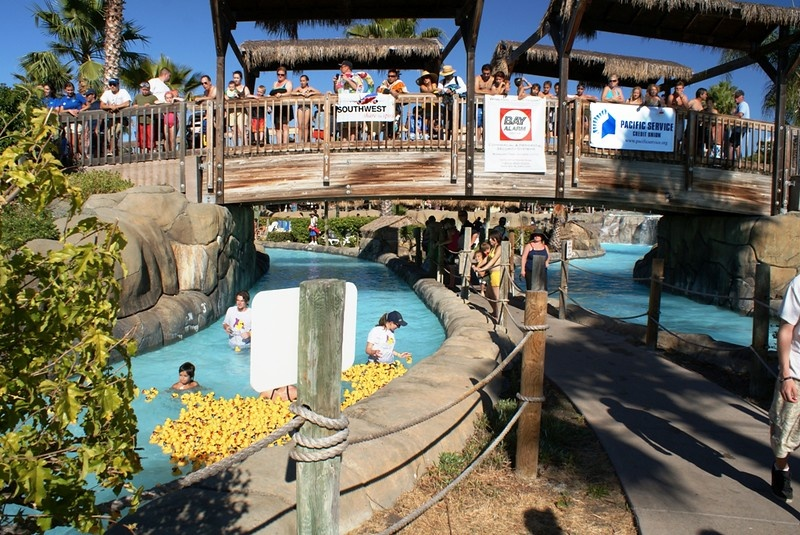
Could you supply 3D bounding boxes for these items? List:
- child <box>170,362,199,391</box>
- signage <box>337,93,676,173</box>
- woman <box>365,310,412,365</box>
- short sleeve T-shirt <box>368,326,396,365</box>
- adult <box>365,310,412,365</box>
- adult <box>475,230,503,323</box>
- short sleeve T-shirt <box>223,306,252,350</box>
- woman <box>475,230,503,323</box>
[{"bbox_3d":[-3.069,1.595,8.148,0.512,0.497,0.312,1,-6,-4],"label":"child"},{"bbox_3d":[2.689,-2.875,12.289,7.100,1.752,0.893,-4,11,-7],"label":"signage"},{"bbox_3d":[-0.199,1.278,10.063,0.364,0.962,0.550,16,25,21],"label":"woman"},{"bbox_3d":[-0.257,1.279,9.273,0.578,0.607,0.324,10,-3,-34],"label":"short sleeve T-shirt"},{"bbox_3d":[-0.199,1.278,10.063,0.364,0.962,0.550,16,25,21],"label":"adult"},{"bbox_3d":[1.815,0.200,11.306,0.522,1.784,0.444,1,5,18],"label":"adult"},{"bbox_3d":[-2.888,1.090,10.114,0.628,0.757,0.398,5,16,-4],"label":"short sleeve T-shirt"},{"bbox_3d":[1.760,0.184,11.163,0.511,1.628,1.802,0,11,8],"label":"woman"}]
